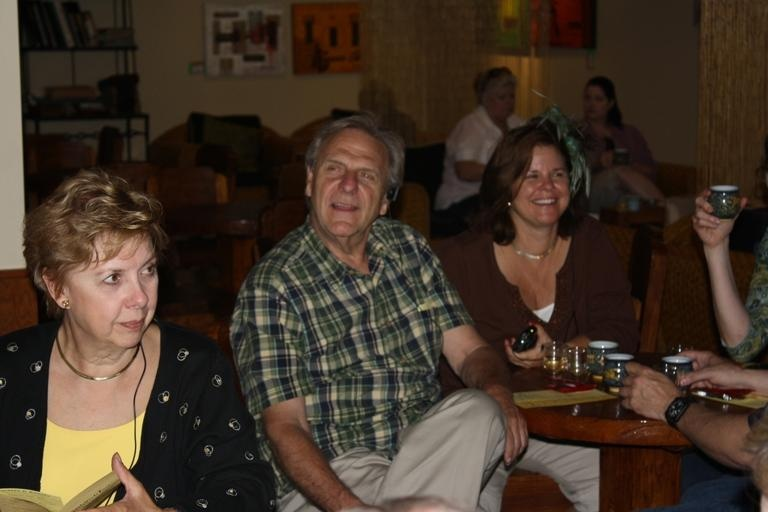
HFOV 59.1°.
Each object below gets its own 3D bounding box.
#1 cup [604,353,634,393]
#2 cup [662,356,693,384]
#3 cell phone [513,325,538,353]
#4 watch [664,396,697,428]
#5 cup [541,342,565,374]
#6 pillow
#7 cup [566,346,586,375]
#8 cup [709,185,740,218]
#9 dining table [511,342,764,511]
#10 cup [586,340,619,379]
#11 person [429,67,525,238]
[{"bbox_3d":[0.827,0.416,2.407,0.110,0.127,0.117,0,-1,0],"label":"cup"},{"bbox_3d":[1.040,0.396,2.395,0.086,0.096,0.087,-1,0,0],"label":"cup"},{"bbox_3d":[0.570,0.350,2.723,0.076,0.121,0.038,30,24,-5],"label":"cell phone"},{"bbox_3d":[0.956,0.489,2.206,0.070,0.115,0.108,47,5,30],"label":"watch"},{"bbox_3d":[0.647,0.385,2.568,0.093,0.117,0.101,1,-5,0],"label":"cup"},{"bbox_3d":[-1.752,-1.248,7.545,0.859,0.888,0.804,1,-4,-20],"label":"pillow"},{"bbox_3d":[0.744,0.389,2.571,0.085,0.152,0.097,-1,0,17],"label":"cup"},{"bbox_3d":[1.361,-0.220,2.680,0.138,0.135,0.094,-4,7,-29],"label":"cup"},{"bbox_3d":[0.836,0.378,2.218,0.606,0.478,0.616,-1,5,-5],"label":"dining table"},{"bbox_3d":[0.799,0.387,2.522,0.111,0.134,0.123,0,1,1],"label":"cup"},{"bbox_3d":[1.010,-0.926,6.186,1.050,1.571,1.080,6,21,16],"label":"person"}]
